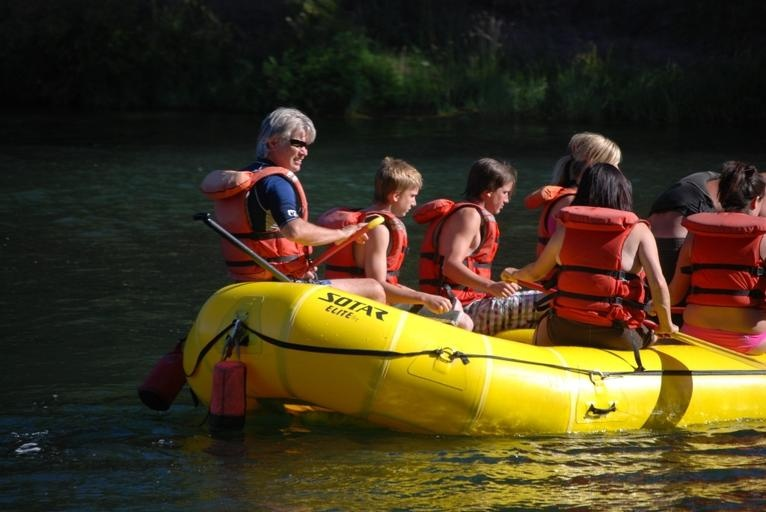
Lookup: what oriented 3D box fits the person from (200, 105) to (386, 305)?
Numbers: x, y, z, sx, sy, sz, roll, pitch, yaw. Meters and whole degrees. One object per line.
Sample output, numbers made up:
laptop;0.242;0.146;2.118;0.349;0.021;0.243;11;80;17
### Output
person;-0.881;-0.493;10.526;1.467;1.611;0.687;6;12;26
